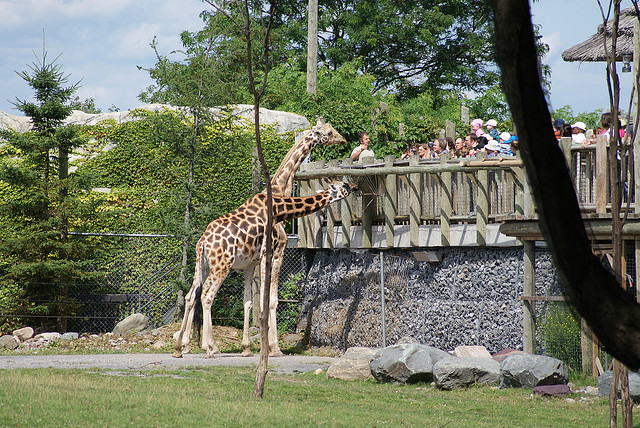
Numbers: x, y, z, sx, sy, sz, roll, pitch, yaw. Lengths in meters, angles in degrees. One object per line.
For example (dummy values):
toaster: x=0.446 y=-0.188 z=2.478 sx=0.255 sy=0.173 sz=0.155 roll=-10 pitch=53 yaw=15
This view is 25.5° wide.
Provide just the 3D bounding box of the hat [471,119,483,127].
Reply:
hat: x=4.430 y=-2.575 z=39.545 sx=0.248 sy=0.294 sz=0.771 roll=-4 pitch=-6 yaw=6

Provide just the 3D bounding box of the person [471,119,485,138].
person: x=4.405 y=-2.507 z=39.434 sx=0.405 sy=0.542 sz=0.791 roll=-4 pitch=21 yaw=9

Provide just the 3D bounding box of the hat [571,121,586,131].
hat: x=6.972 y=-2.417 z=38.134 sx=0.366 sy=0.142 sz=0.255 roll=14 pitch=6 yaw=40

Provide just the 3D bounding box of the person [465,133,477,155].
person: x=4.111 y=-1.884 z=38.164 sx=0.332 sy=0.702 sz=1.287 roll=-4 pitch=-6 yaw=6

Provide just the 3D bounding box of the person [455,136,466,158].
person: x=3.838 y=-1.837 z=38.492 sx=0.295 sy=0.664 sz=0.985 roll=-4 pitch=-6 yaw=6

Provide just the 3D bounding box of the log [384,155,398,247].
log: x=1.965 y=-0.131 z=38.439 sx=0.345 sy=1.903 sz=0.629 roll=-3 pitch=-6 yaw=-1

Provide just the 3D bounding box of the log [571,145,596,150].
log: x=6.632 y=-1.684 z=35.455 sx=0.616 sy=0.126 sz=0.113 roll=-7 pitch=-7 yaw=29

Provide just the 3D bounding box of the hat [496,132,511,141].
hat: x=5.096 y=-2.140 z=38.830 sx=0.302 sy=0.144 sz=0.215 roll=10 pitch=15 yaw=2

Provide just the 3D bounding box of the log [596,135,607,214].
log: x=7.069 y=-1.035 z=35.463 sx=0.274 sy=2.232 sz=0.297 roll=-7 pitch=30 yaw=-1

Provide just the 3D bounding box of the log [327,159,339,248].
log: x=0.367 y=-0.378 z=40.287 sx=0.327 sy=2.603 sz=0.314 roll=-7 pitch=-26 yaw=17

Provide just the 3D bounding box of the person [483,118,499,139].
person: x=4.875 y=-2.410 z=39.657 sx=0.317 sy=0.635 sz=0.862 roll=-4 pitch=-6 yaw=7

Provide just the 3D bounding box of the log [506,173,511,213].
log: x=4.925 y=-0.541 z=36.763 sx=0.098 sy=0.951 sz=0.234 roll=-1 pitch=-7 yaw=-15

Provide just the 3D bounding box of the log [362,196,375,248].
log: x=1.361 y=0.176 z=39.064 sx=0.394 sy=1.408 sz=0.183 roll=-3 pitch=-6 yaw=1

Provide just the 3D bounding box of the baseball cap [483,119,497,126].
baseball cap: x=4.809 y=-2.576 z=39.562 sx=0.328 sy=0.162 sz=0.232 roll=-1 pitch=0 yaw=-12

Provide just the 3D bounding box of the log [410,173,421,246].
log: x=2.620 y=-0.261 z=38.088 sx=0.350 sy=2.081 sz=0.314 roll=-3 pitch=-14 yaw=15

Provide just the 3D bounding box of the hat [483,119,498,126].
hat: x=4.910 y=-2.576 z=39.612 sx=0.408 sy=0.200 sz=0.287 roll=-1 pitch=0 yaw=-17

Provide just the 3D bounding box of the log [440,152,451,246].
log: x=3.354 y=-0.446 z=37.794 sx=0.406 sy=2.942 sz=0.406 roll=-2 pitch=-43 yaw=6

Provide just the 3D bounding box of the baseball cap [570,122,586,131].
baseball cap: x=6.930 y=-2.411 z=38.143 sx=0.455 sy=0.175 sz=0.316 roll=15 pitch=13 yaw=20

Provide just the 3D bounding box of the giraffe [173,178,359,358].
giraffe: x=-1.761 y=1.455 z=38.141 sx=4.529 sy=4.522 sz=1.725 roll=-2 pitch=-6 yaw=-10
